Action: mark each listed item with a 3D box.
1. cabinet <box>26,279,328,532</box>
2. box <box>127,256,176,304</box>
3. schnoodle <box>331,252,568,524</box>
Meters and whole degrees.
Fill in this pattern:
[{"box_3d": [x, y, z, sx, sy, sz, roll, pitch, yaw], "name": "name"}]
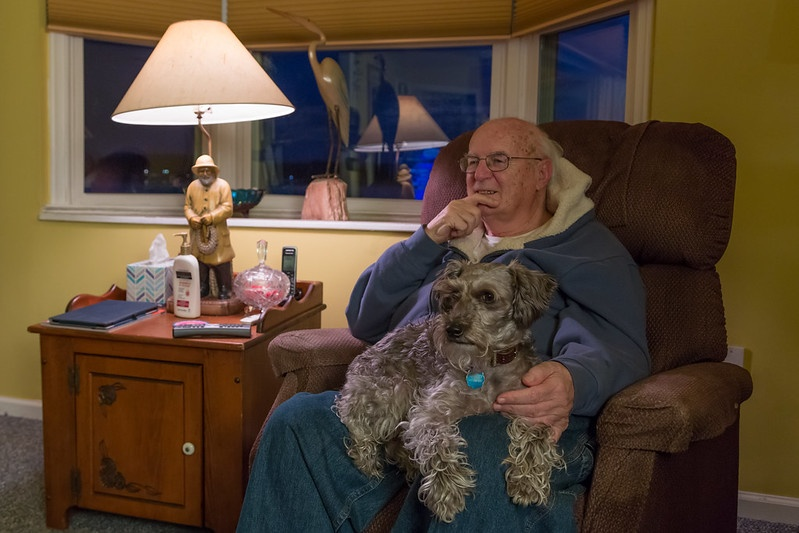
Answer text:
[{"box_3d": [-0.905, 0.527, 3.115, 0.903, 0.884, 0.922, 0, 0, 24], "name": "cabinet"}, {"box_3d": [-1.115, 0.063, 3.314, 0.199, 0.203, 0.205, 1, 1, 11], "name": "box"}, {"box_3d": [0.135, 0.338, 2.392, 0.681, 0.684, 1.045, -7, 7, -21], "name": "schnoodle"}]
